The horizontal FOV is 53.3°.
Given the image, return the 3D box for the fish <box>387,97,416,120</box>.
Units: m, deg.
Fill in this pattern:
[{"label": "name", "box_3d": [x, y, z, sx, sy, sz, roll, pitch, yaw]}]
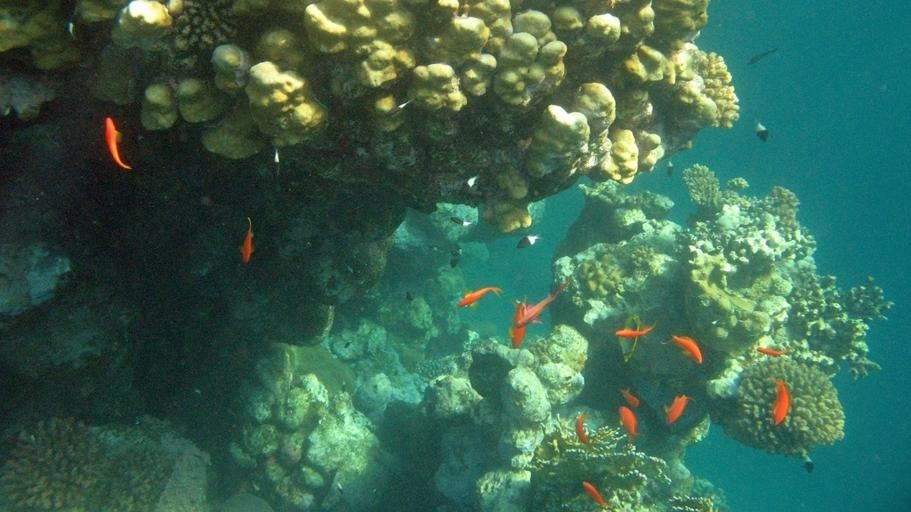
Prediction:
[{"label": "fish", "box_3d": [-1.109, -3.059, 18.583, 0.376, 0.376, 0.222, 20, 4, 11]}]
